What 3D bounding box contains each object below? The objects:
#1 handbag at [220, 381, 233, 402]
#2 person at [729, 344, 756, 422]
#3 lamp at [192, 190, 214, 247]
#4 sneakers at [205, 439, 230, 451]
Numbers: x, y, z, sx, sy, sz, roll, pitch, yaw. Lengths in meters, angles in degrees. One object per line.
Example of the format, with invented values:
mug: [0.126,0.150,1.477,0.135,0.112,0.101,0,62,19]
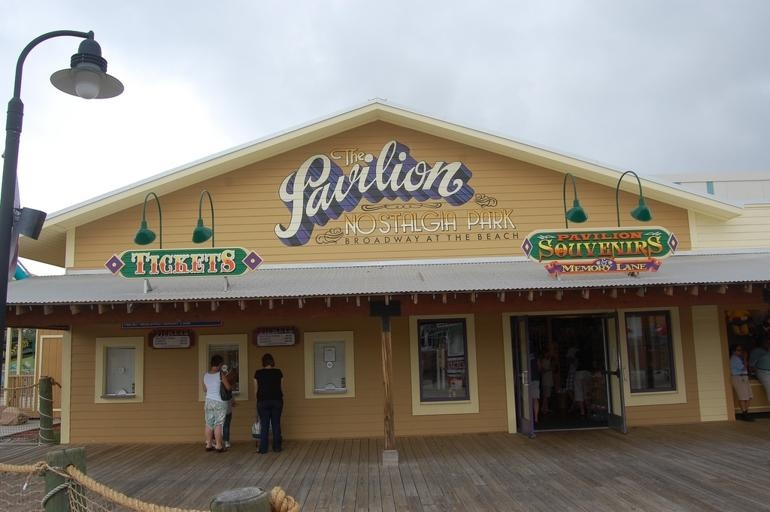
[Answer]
handbag: [-3.794,3.188,16.093,0.209,0.519,0.555,-6,-9,15]
person: [9.149,3.227,17.492,0.537,1.786,0.754,1,6,28]
lamp: [-4.492,-0.933,16.776,0.516,1.386,2.153,-4,6,-13]
sneakers: [-4.013,4.515,16.150,0.561,0.214,0.195,-2,-11,5]
